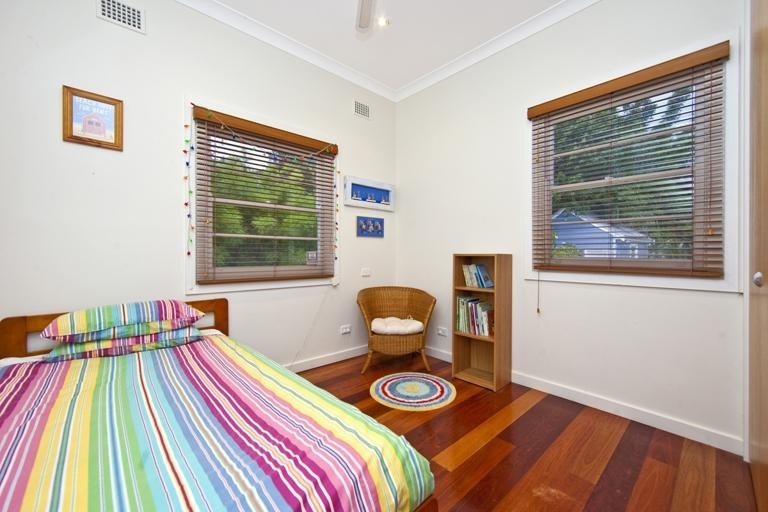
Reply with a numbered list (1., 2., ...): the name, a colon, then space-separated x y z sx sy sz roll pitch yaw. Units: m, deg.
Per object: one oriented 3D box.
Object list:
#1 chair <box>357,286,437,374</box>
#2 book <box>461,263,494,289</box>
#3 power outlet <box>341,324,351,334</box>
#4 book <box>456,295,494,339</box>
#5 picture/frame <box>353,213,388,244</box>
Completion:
1. chair: 0.165 0.743 4.821 0.769 0.767 0.729 -2 3 10
2. book: 0.919 0.202 4.434 0.236 0.240 0.088 -4 -3 12
3. power outlet: -0.414 0.806 4.961 0.016 0.083 0.117 -1 -3 44
4. book: 0.877 0.593 4.429 0.434 0.426 0.311 1 -1 -37
5. picture/frame: -0.141 -0.315 5.159 0.041 0.268 0.446 1 2 43
